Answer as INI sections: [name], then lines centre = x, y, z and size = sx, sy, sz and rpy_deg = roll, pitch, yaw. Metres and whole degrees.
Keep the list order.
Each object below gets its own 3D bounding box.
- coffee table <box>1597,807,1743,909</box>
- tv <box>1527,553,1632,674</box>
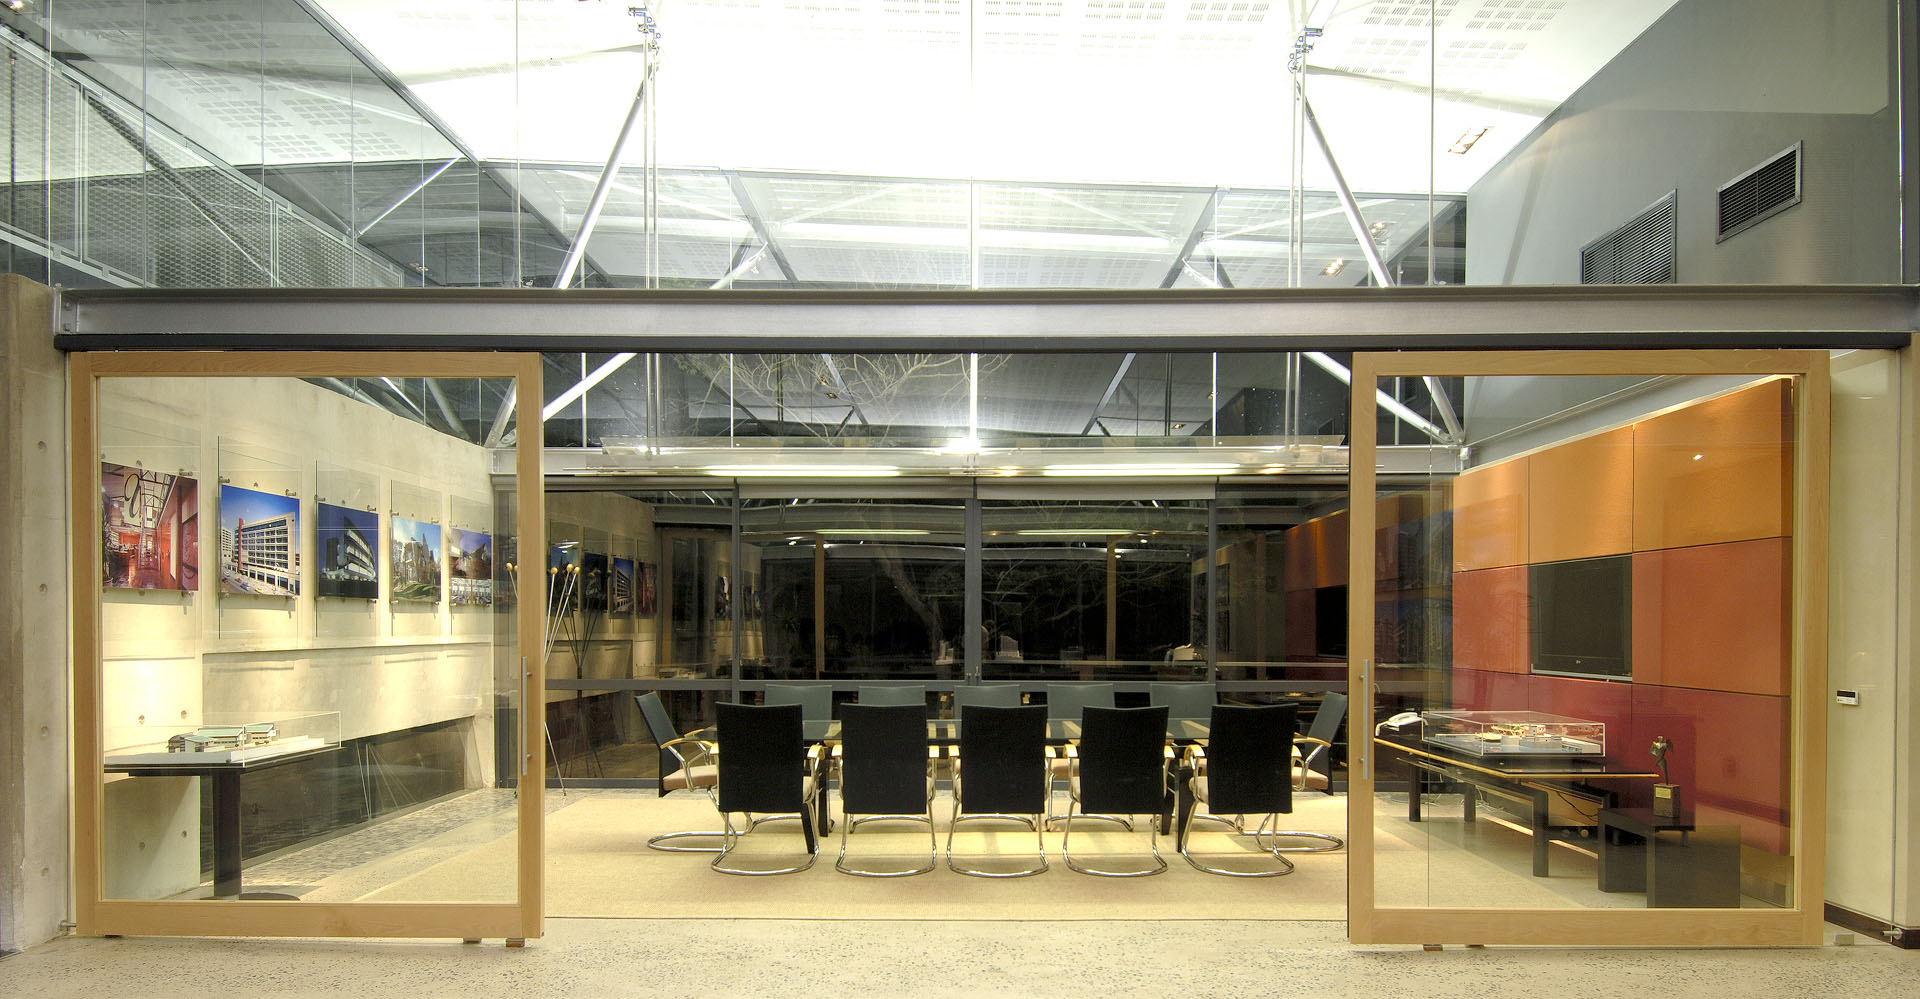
[coffee table]
centre = 5.718, 2.898, 11.555
size = 1.049, 0.709, 0.290
rpy_deg = 2, 13, 10
[tv]
centre = 5.070, 0.949, 11.750
size = 0.787, 0.955, 0.235
rpy_deg = 0, 13, 2
